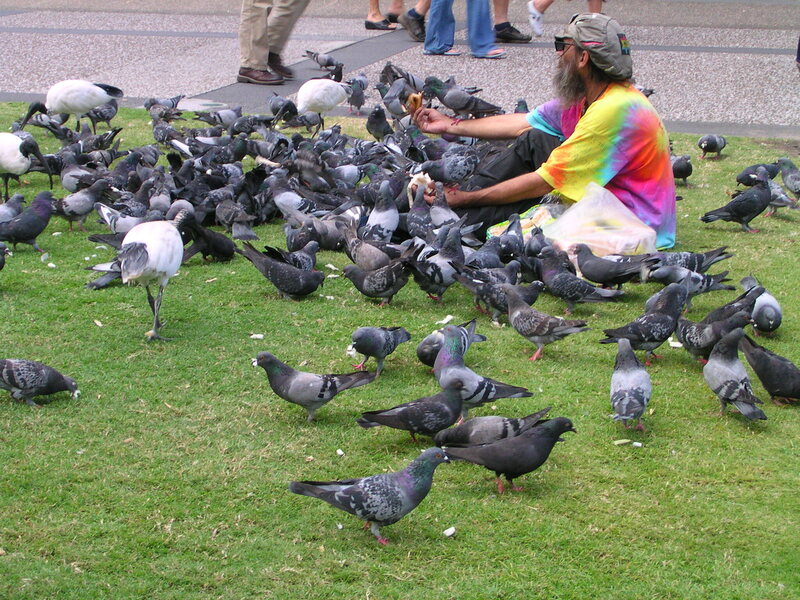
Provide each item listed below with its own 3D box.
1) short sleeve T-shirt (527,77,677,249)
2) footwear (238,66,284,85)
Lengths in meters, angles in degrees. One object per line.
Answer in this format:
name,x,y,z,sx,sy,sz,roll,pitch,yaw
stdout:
short sleeve T-shirt,2.043,-1.319,9.289,1.588,1.389,1.333,-3,17,5
footwear,-2.040,-3.256,14.257,0.636,0.276,0.268,1,18,5
